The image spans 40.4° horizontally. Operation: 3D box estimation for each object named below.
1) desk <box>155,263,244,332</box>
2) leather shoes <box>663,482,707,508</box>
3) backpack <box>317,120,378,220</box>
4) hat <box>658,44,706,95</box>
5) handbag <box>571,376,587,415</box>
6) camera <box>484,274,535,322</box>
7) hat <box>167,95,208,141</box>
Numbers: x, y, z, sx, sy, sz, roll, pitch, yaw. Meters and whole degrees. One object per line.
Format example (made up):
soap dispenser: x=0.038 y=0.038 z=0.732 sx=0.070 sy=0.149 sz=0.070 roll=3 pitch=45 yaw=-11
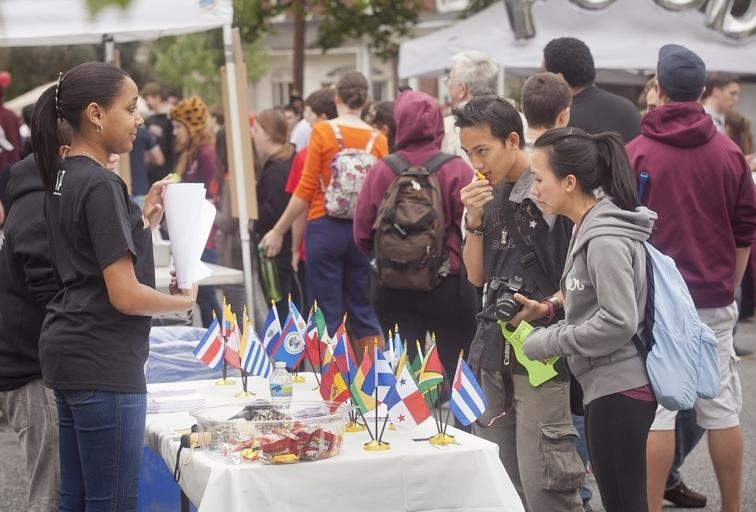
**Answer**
desk: x=-1.470 y=0.247 z=8.492 sx=0.700 sy=0.706 sz=0.711 roll=0 pitch=1 yaw=-15
leather shoes: x=2.001 y=1.572 z=6.775 sx=0.348 sy=0.159 sz=0.122 roll=1 pitch=3 yaw=6
backpack: x=-0.283 y=-0.656 z=8.193 sx=0.471 sy=0.756 sz=0.778 roll=1 pitch=0 yaw=-26
hat: x=1.869 y=-1.106 z=6.386 sx=0.228 sy=0.342 sz=0.177 roll=3 pitch=-28 yaw=-3
handbag: x=1.135 y=0.805 z=5.893 sx=0.066 sy=0.266 sz=0.292 roll=-1 pitch=1 yaw=10
camera: x=0.706 y=0.222 z=5.632 sx=0.234 sy=0.238 sz=0.238 roll=4 pitch=13 yaw=11
hat: x=-1.991 y=-1.562 z=11.296 sx=0.414 sy=0.524 sz=0.551 roll=-16 pitch=21 yaw=-34
